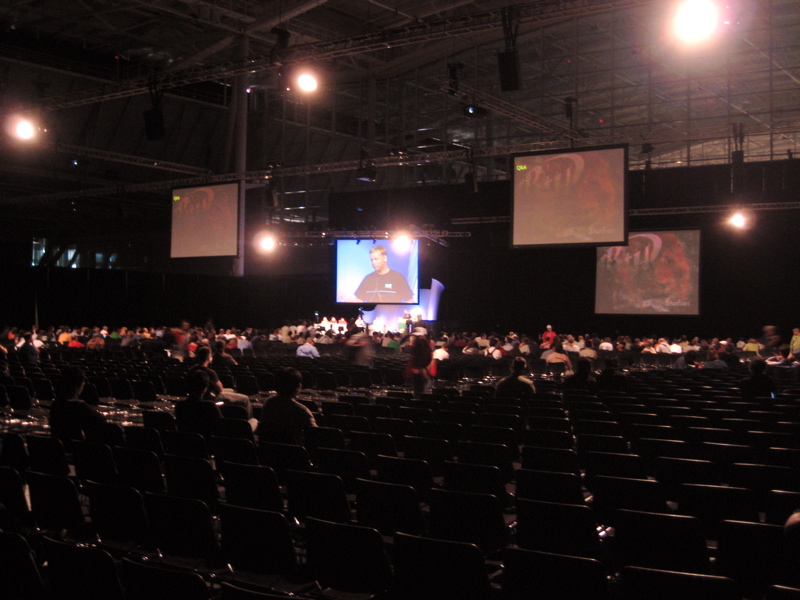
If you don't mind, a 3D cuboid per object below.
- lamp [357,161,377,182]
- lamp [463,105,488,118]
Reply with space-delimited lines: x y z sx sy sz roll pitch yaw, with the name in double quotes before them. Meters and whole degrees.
"lamp" -0.883 -3.428 19.690 0.457 0.454 0.813 1 0 4
"lamp" 2.052 -5.082 19.675 0.363 0.299 1.129 1 0 18
